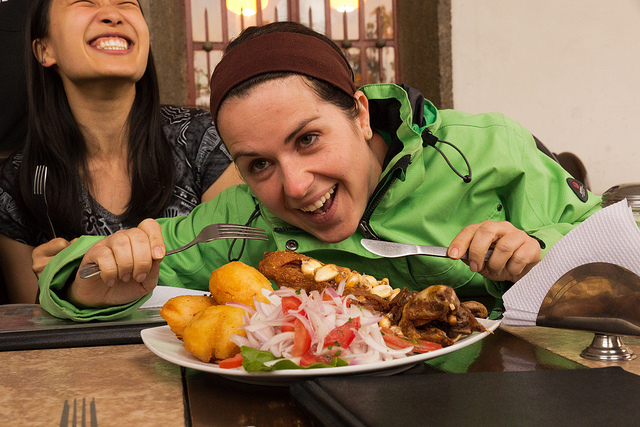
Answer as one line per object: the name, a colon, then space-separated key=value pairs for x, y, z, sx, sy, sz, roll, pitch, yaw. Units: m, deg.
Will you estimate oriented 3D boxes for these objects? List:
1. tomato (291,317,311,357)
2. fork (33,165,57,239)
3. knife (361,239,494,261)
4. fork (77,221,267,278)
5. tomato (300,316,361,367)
tomato: x=-0.033 y=0.226 z=0.980 sx=0.033 sy=0.060 sz=0.030 roll=10 pitch=15 yaw=10
fork: x=-1.250 y=-0.067 z=2.469 sx=0.046 sy=0.358 sz=0.042 roll=-1 pitch=6 yaw=6
knife: x=0.263 y=0.090 z=1.343 sx=0.356 sy=0.029 sz=0.049 roll=4 pitch=46 yaw=5
fork: x=-0.394 y=0.104 z=1.520 sx=0.463 sy=0.062 sz=0.038 roll=-18 pitch=-5 yaw=-9
tomato: x=0.023 y=0.231 z=0.980 sx=0.120 sy=0.075 sz=0.040 roll=1 pitch=16 yaw=-24
